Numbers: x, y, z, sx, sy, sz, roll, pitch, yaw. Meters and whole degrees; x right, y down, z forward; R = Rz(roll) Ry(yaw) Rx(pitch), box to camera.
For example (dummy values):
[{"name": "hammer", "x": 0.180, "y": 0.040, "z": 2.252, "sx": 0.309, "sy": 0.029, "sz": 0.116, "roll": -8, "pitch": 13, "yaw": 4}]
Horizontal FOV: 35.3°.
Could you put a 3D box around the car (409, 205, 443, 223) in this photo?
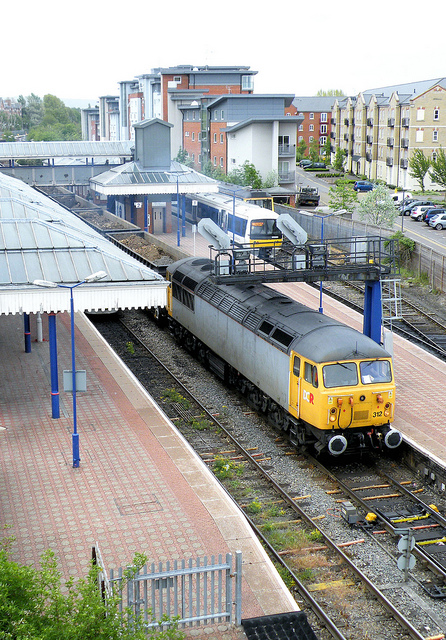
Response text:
[{"name": "car", "x": 17.270, "y": -9.192, "z": 60.195, "sx": 2.468, "sy": 0.853, "sz": 1.092, "roll": -10, "pitch": 20, "yaw": -14}]

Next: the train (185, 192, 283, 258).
[{"name": "train", "x": 0.546, "y": -7.217, "z": 48.558, "sx": 2.816, "sy": 3.466, "sz": 15.992, "roll": -10, "pitch": 18, "yaw": -15}]

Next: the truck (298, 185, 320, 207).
[{"name": "truck", "x": 8.013, "y": -12.027, "z": 67.417, "sx": 1.351, "sy": 1.290, "sz": 2.316, "roll": -2, "pitch": 18, "yaw": -6}]

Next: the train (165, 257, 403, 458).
[{"name": "train", "x": 1.890, "y": 0.252, "z": 23.544, "sx": 3.260, "sy": 3.827, "sz": 15.322, "roll": -8, "pitch": 19, "yaw": -19}]

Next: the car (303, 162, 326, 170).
[{"name": "car", "x": 12.938, "y": -21.872, "z": 99.433, "sx": 2.899, "sy": 0.911, "sz": 1.167, "roll": 0, "pitch": 16, "yaw": -1}]
